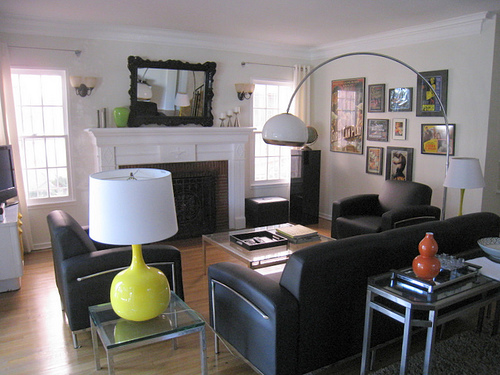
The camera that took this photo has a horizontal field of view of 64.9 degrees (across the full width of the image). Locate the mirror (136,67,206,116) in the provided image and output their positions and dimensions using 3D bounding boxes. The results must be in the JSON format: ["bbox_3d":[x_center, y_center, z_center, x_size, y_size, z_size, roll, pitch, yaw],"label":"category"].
[{"bbox_3d":[-1.250,-1.475,5.976,0.824,0.606,0.043,-1,9,-26],"label":"mirror"}]

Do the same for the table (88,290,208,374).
[{"bbox_3d":[-0.840,1.211,3.152,0.768,0.683,0.862,-6,11,-24],"label":"table"}]

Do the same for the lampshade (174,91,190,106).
[{"bbox_3d":[-1.052,-1.371,6.071,0.201,0.190,0.199,-20,32,-37],"label":"lampshade"}]

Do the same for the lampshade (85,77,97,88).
[{"bbox_3d":[-2.235,-1.482,5.531,0.137,0.145,0.179,-5,11,-21],"label":"lampshade"}]

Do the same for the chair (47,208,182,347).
[{"bbox_3d":[-1.478,0.777,4.153,1.052,1.048,1.375,-3,10,-30],"label":"chair"}]

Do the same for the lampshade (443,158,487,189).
[{"bbox_3d":[2.278,-0.141,4.195,0.364,0.334,0.294,-7,12,-30],"label":"lampshade"}]

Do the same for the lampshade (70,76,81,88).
[{"bbox_3d":[-2.382,-1.460,5.387,0.135,0.106,0.136,-1,9,-3],"label":"lampshade"}]

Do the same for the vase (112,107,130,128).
[{"bbox_3d":[-1.854,-1.012,5.664,0.259,0.301,0.264,-1,4,-9],"label":"vase"}]

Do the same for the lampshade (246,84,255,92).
[{"bbox_3d":[0.003,-1.657,6.502,0.114,0.125,0.119,-1,8,-4],"label":"lampshade"}]

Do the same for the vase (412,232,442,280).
[{"bbox_3d":[1.274,0.506,2.909,0.214,0.346,0.221,12,-3,5],"label":"vase"}]

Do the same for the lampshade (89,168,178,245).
[{"bbox_3d":[-0.832,0.134,2.820,0.547,0.400,0.550,-6,12,-12],"label":"lampshade"}]

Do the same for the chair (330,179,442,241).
[{"bbox_3d":[1.815,0.413,5.362,1.090,0.928,1.171,-10,13,-34],"label":"chair"}]

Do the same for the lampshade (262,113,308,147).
[{"bbox_3d":[0.395,-0.567,3.853,0.474,0.330,0.468,-9,16,-32],"label":"lampshade"}]
